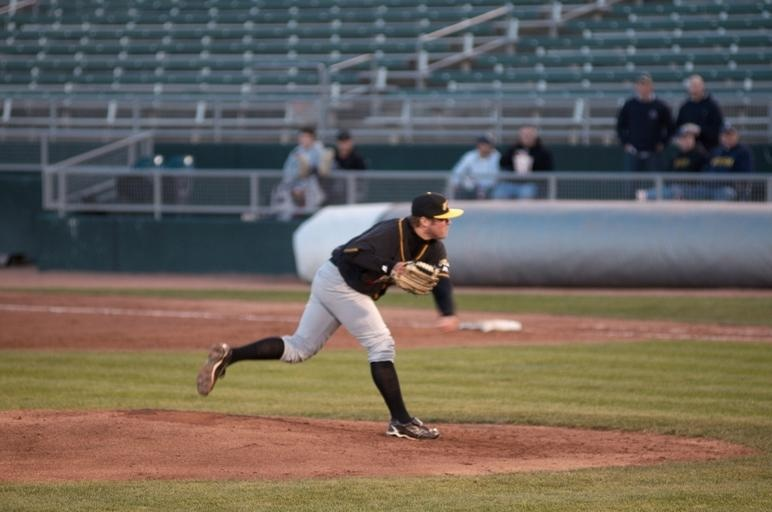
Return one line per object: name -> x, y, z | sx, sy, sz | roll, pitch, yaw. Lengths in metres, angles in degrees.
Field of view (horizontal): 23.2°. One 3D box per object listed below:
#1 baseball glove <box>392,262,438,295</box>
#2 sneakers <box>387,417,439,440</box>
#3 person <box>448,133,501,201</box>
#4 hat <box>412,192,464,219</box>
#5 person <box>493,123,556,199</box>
baseball glove -> 0.316, 0.258, 20.179 | 0.506, 0.340, 0.180 | -1, 4, -2
sneakers -> 0.301, 1.934, 20.720 | 0.541, 0.224, 0.237 | 3, -2, 2
person -> 1.067, -1.034, 22.194 | 0.645, 0.732, 0.617 | -1, 4, -14
hat -> 0.529, -0.520, 20.215 | 0.439, 0.211, 0.289 | -2, 10, 1
person -> 1.661, -1.073, 22.442 | 0.665, 0.483, 0.943 | 5, 28, 5
